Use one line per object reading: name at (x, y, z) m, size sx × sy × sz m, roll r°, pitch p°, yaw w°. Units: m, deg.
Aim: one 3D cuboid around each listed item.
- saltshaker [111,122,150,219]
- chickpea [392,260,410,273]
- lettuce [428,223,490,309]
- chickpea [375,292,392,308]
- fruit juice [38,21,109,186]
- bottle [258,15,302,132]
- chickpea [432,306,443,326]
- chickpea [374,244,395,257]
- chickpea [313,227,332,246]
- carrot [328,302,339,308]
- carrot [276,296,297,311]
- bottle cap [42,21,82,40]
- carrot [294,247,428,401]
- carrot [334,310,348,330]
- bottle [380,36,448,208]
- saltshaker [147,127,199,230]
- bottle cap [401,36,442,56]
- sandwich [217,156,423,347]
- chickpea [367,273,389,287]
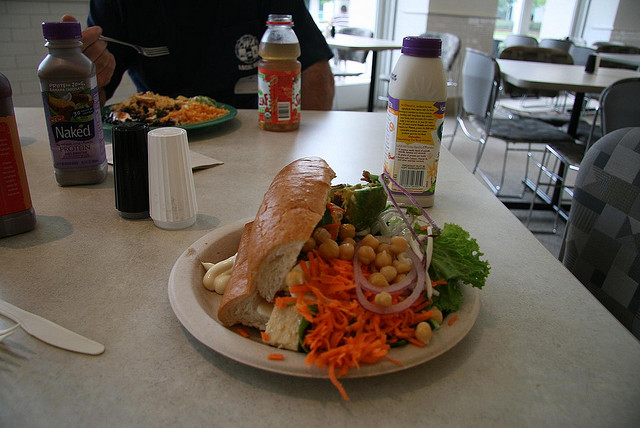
saltshaker at (-0.402, -0.094, 0.989) m, size 0.098 × 0.197 × 0.099 m, roll -2°, pitch 16°, yaw -26°
chickpea at (0.132, 0.087, 0.730) m, size 0.013 × 0.011 × 0.026 m, roll -12°, pitch 20°, yaw -17°
lettuce at (0.231, 0.087, 0.781) m, size 0.120 × 0.038 × 0.122 m, roll 6°, pitch 53°, yaw -15°
chickpea at (0.098, 0.130, 0.680) m, size 0.022 × 0.011 × 0.020 m, roll -9°, pitch 38°, yaw -5°
fruit juice at (-0.581, -0.252, 1.064) m, size 0.141 × 0.355 × 0.130 m, roll -10°, pitch 17°, yaw -29°
bottle at (-0.130, -0.445, 1.446) m, size 0.137 × 0.341 × 0.138 m, roll 2°, pitch 20°, yaw -1°
chickpea at (0.185, 0.160, 0.708) m, size 0.017 × 0.013 × 0.023 m, roll -6°, pitch 68°, yaw -7°
chickpea at (0.110, 0.059, 0.749) m, size 0.020 × 0.012 × 0.023 m, roll 7°, pitch 17°, yaw -7°
chickpea at (0.004, 0.039, 0.745) m, size 0.023 × 0.016 × 0.028 m, roll 3°, pitch 12°, yaw -4°
carrot at (0.022, 0.137, 0.679) m, size 0.015 × 0.006 × 0.006 m, roll -2°, pitch 23°, yaw -9°
carrot at (-0.053, 0.139, 0.694) m, size 0.026 × 0.020 × 0.011 m, roll -19°, pitch 40°, yaw 21°
bottle cap at (-0.570, -0.400, 0.985) m, size 0.077 × 0.038 × 0.068 m, roll -8°, pitch 24°, yaw -21°
carrot at (0.058, 0.162, 0.680) m, size 0.202 × 0.164 × 0.165 m, roll 7°, pitch 23°, yaw 14°
carrot at (0.034, 0.159, 0.674) m, size 0.020 × 0.005 × 0.020 m, roll -20°, pitch 32°, yaw 13°
bottle at (0.200, -0.199, 1.062) m, size 0.137 × 0.441 × 0.154 m, roll 6°, pitch 16°, yaw 20°
saltshaker at (-0.324, -0.072, 0.978) m, size 0.108 × 0.187 × 0.109 m, roll -5°, pitch 17°, yaw -16°
bottle cap at (0.228, -0.370, 0.998) m, size 0.086 × 0.037 × 0.070 m, roll 8°, pitch 23°, yaw 16°
sandwich at (0.010, 0.033, 0.758) m, size 0.335 × 0.134 × 0.346 m, roll 3°, pitch 52°, yaw 25°
chickpea at (0.093, 0.104, 0.704) m, size 0.025 × 0.019 × 0.015 m, roll 20°, pitch 68°, yaw -4°
